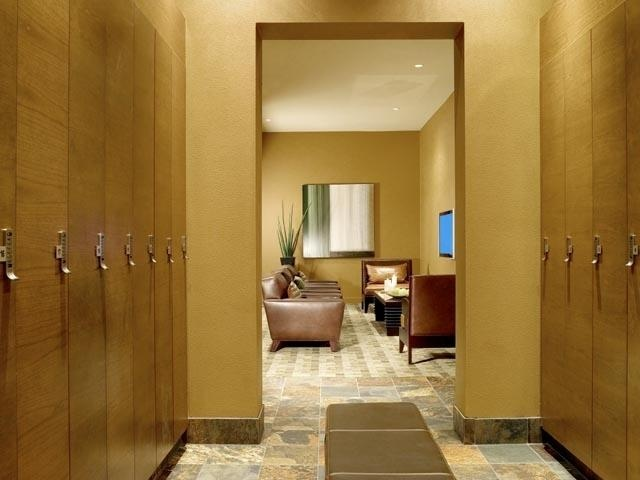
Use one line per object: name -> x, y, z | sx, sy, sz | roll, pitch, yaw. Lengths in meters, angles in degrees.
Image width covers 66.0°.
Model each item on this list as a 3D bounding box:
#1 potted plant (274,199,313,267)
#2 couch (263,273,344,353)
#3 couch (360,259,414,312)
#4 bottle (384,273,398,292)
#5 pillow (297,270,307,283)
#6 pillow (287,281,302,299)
potted plant -> -0.547, -0.124, 9.819 | 0.637, 1.193, 0.685 | -1, 2, -6
couch -> -0.247, 0.936, 6.460 | 0.976, 0.932, 1.125 | -1, 2, -6
couch -> 1.225, 0.847, 8.874 | 1.145, 1.051, 1.201 | 1, -5, -20
bottle -> 1.067, 0.640, 7.507 | 0.191, 0.390, 0.356 | 1, 3, 18
pillow -> -0.314, 0.670, 8.856 | 0.091, 0.124, 0.287 | -2, -18, 0
pillow -> -0.329, 0.679, 6.431 | 0.130, 0.212, 0.262 | -15, -10, 4
